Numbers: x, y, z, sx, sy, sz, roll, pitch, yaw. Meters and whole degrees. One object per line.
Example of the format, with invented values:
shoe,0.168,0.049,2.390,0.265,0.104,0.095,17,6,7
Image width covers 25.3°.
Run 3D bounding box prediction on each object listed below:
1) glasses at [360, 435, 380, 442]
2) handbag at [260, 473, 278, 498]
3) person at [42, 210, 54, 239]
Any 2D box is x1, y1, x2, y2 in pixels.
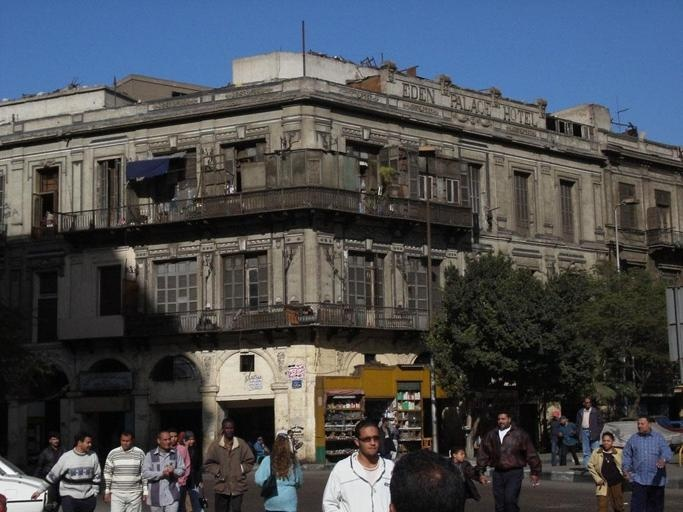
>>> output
glasses,0.701,4.462,37.251,0.414,0.134,0.091,-2,11,-17
handbag,-1.967,6.331,41.988,0.472,0.608,0.238,4,-6,-1
person,-13.566,-1.578,70.941,0.586,1.188,1.292,-3,11,-21
